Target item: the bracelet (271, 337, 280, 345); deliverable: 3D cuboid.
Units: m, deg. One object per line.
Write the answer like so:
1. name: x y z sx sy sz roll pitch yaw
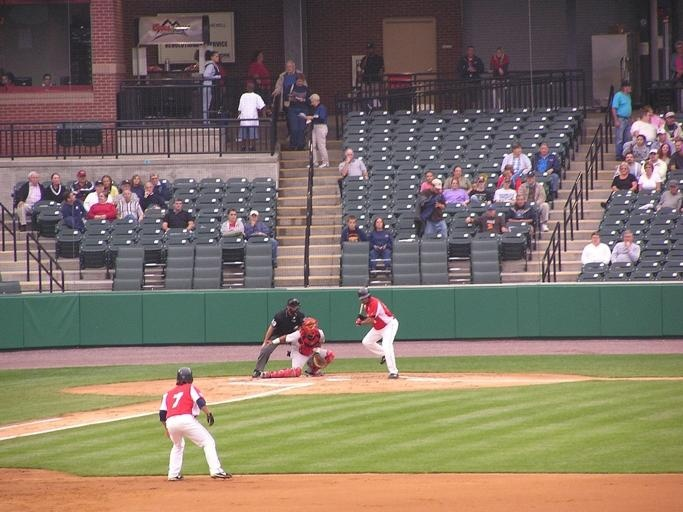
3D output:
1. bracelet: -1.703 2.210 44.834 0.091 0.126 0.214 28 -34 -34

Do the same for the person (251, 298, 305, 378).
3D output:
1. person: -1.552 2.143 45.157 1.078 2.140 1.167 1 7 -37

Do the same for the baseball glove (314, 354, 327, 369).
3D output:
1. baseball glove: -0.582 2.781 45.284 0.221 0.354 0.362 1 0 -5

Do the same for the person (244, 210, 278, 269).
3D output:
1. person: -2.345 -0.482 50.786 0.947 1.650 0.756 -3 11 -26

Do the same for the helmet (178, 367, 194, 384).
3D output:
1. helmet: -3.554 2.704 39.496 0.294 0.375 0.382 4 11 7

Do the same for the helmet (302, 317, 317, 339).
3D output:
1. helmet: -0.815 1.784 44.694 0.337 0.433 0.449 3 25 9

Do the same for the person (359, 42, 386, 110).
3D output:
1. person: 0.973 -5.996 57.672 0.628 2.253 0.839 -4 9 -21

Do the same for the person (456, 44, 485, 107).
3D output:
1. person: 4.174 -5.719 57.029 0.850 2.481 0.783 0 -12 1

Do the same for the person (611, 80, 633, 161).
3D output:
1. person: 8.375 -4.070 52.385 0.719 2.271 0.494 -5 6 -32

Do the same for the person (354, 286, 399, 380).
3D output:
1. person: 0.906 1.920 44.689 0.845 2.311 1.036 -1 16 38
